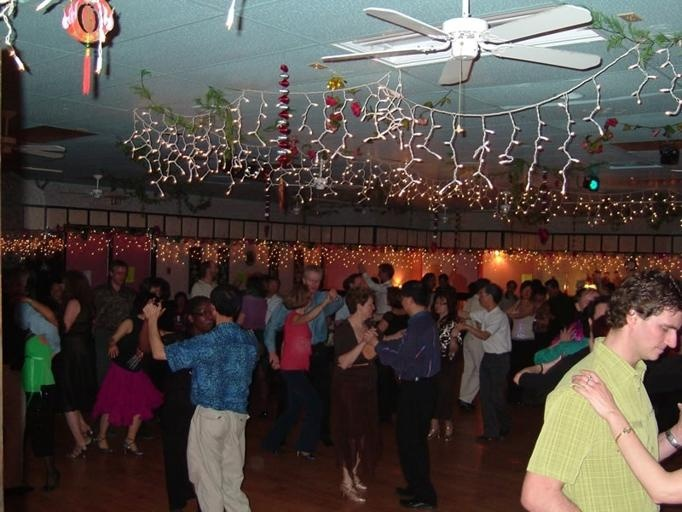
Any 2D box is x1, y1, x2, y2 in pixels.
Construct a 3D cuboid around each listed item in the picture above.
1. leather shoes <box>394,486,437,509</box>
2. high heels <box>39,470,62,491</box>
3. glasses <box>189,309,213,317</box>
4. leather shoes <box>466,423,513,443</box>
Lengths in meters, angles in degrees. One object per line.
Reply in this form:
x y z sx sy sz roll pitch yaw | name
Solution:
0.661 2.095 5.382 0.355 0.161 0.132 11 -8 10 | leather shoes
-2.628 2.001 5.519 0.087 0.180 0.229 -4 -9 20 | high heels
-1.139 0.448 4.994 0.194 0.079 0.078 1 2 5 | glasses
1.766 2.044 7.231 0.439 0.198 0.151 1 1 -24 | leather shoes
